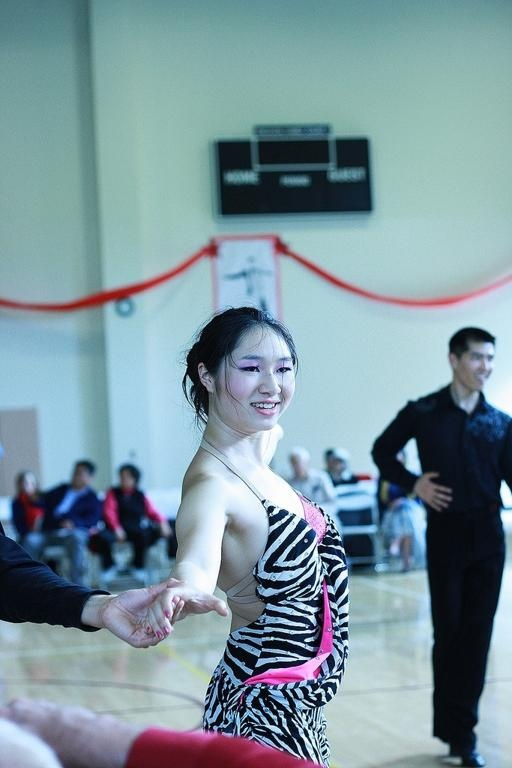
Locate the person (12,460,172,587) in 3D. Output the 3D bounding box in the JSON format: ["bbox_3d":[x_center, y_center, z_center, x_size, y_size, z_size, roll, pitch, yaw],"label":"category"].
[{"bbox_3d":[-1.156,0.969,6.038,1.406,0.999,0.666,3,-28,-14],"label":"person"}]
